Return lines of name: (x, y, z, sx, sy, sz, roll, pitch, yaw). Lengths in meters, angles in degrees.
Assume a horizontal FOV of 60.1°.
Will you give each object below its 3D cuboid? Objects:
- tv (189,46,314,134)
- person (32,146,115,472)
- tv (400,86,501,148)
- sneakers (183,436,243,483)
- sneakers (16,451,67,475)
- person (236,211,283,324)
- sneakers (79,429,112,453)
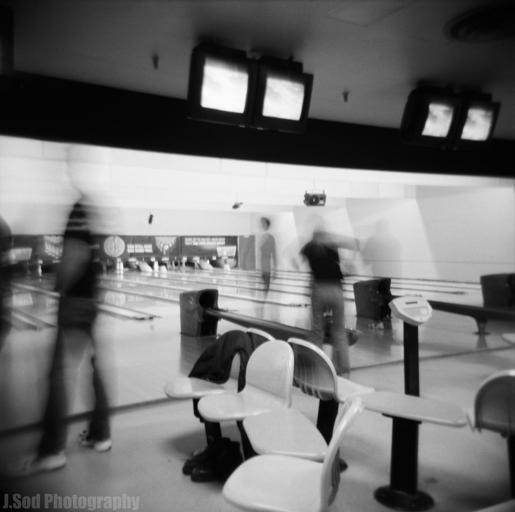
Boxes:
tv: (-0.032, -0.979, 2.617, 0.752, 0.418, 0.143, 0, 4, -19)
person: (-1.085, 0.231, 2.639, 0.409, 1.788, 0.644, -1, 4, -20)
tv: (1.404, -0.996, 3.235, 0.747, 0.421, 0.189, 0, 4, -15)
sneakers: (-0.221, 1.057, 2.280, 0.148, 0.110, 0.252, 3, 2, 41)
sneakers: (-1.138, 1.113, 2.370, 0.251, 0.128, 0.096, -1, -3, -11)
person: (0.031, 0.104, 3.502, 0.234, 0.833, 0.432, 2, 4, 21)
sneakers: (-0.943, 1.077, 2.600, 0.124, 0.061, 0.107, 2, -5, 7)
